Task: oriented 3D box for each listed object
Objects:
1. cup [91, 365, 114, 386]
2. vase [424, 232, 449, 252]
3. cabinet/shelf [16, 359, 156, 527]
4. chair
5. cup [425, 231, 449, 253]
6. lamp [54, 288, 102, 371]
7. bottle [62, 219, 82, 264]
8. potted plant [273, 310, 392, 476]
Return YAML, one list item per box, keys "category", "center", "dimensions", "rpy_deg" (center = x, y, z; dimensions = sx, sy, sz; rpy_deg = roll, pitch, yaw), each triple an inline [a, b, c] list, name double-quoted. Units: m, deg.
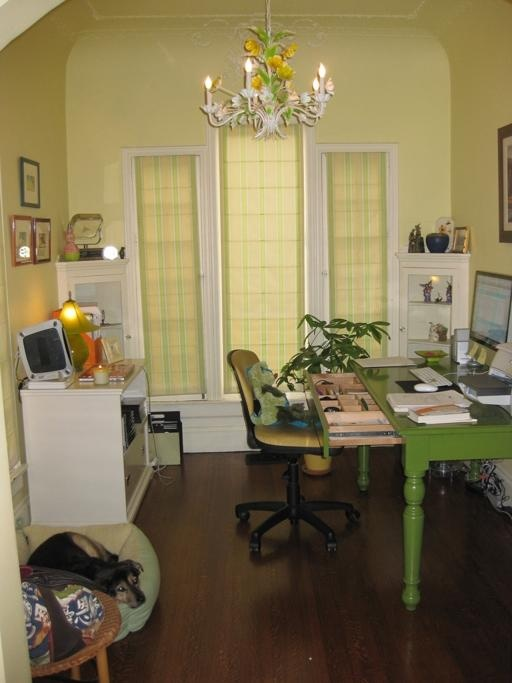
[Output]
- category: "cup"
  center: [-0.853, 0.192, 3.061]
  dimensions: [0.099, 0.108, 0.097]
  rpy_deg: [0, 11, 0]
- category: "vase"
  center: [1.396, -0.760, 4.257]
  dimensions: [0.153, 0.143, 0.153]
  rpy_deg: [1, 8, 27]
- category: "cabinet/shelf"
  center: [-0.975, 0.573, 3.039]
  dimensions: [0.381, 0.609, 0.912]
  rpy_deg: [-1, 10, -1]
- category: "chair"
  center: [0.164, 0.571, 3.501]
  dimensions: [0.994, 1.307, 1.026]
  rpy_deg: [-2, 4, 3]
- category: "cup"
  center: [1.404, -0.760, 4.269]
  dimensions: [0.172, 0.162, 0.157]
  rpy_deg: [-2, 6, 0]
- category: "lamp"
  center: [-1.108, -0.049, 3.365]
  dimensions: [0.252, 0.481, 0.738]
  rpy_deg: [-5, 7, -19]
- category: "bottle"
  center: [-1.325, -0.709, 3.927]
  dimensions: [0.128, 0.281, 0.155]
  rpy_deg: [-9, 9, -43]
- category: "potted plant"
  center: [0.514, 0.167, 4.162]
  dimensions: [0.740, 0.728, 0.715]
  rpy_deg: [5, -1, 32]
